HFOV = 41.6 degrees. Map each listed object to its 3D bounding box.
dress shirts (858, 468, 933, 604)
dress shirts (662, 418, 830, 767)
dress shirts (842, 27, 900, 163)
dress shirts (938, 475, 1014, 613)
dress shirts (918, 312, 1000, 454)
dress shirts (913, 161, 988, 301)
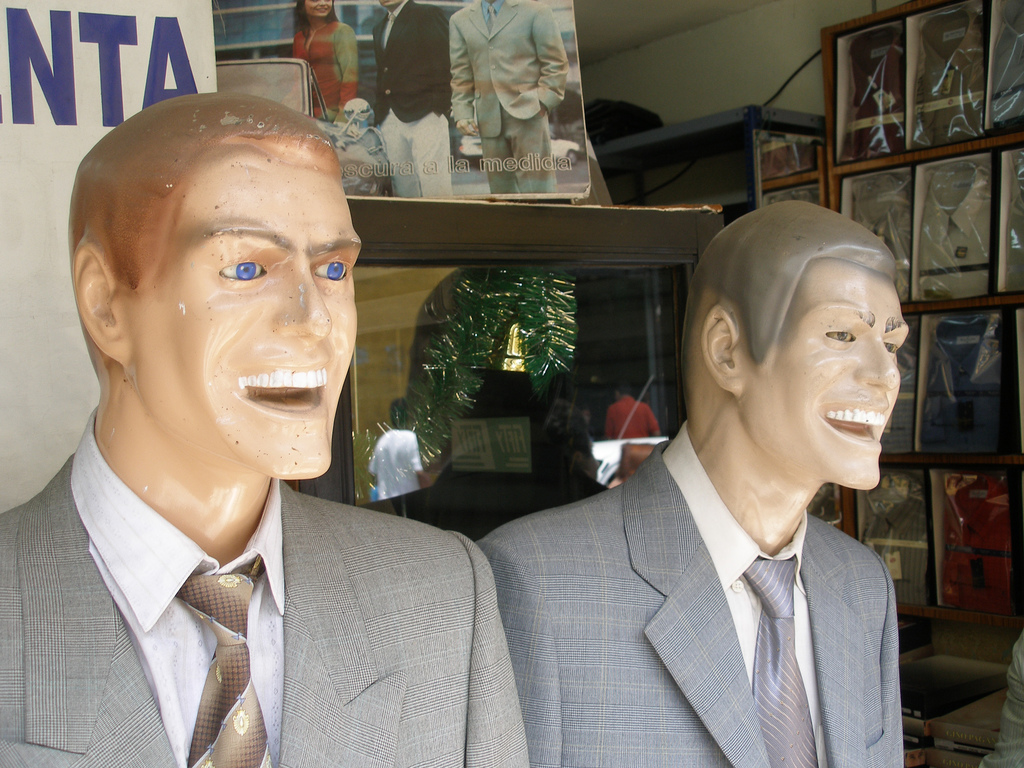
[{"bbox_3d":[1.021,0.391,3.595,0.193,0.364,0.198,0,12,12],"label":"dress shirts"},{"bbox_3d":[0.331,0.263,1.803,0.188,0.473,0.098,0,-7,-12],"label":"dress shirts"},{"bbox_3d":[0.949,-0.770,3.540,0.154,0.339,0.053,-3,21,1],"label":"dress shirts"},{"bbox_3d":[1.145,0.394,3.309,0.067,0.358,0.228,-10,12,-35],"label":"dress shirts"},{"bbox_3d":[1.111,-0.022,3.367,0.212,0.440,0.042,0,33,16],"label":"dress shirts"},{"bbox_3d":[1.112,-0.385,3.385,0.188,0.407,0.037,-5,-23,31],"label":"dress shirts"}]
